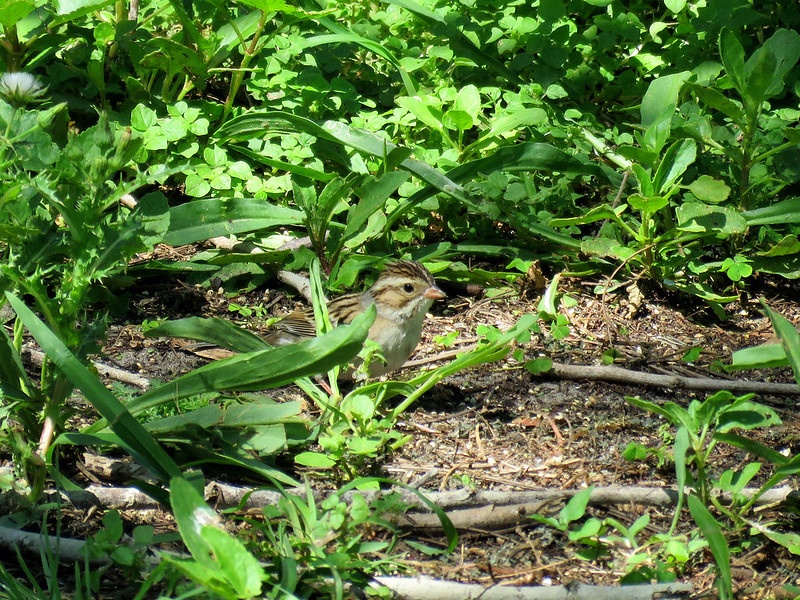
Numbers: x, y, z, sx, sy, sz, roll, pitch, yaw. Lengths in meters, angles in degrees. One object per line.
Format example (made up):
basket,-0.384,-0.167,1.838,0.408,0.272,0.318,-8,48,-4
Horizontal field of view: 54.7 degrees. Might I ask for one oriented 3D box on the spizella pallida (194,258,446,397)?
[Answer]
spizella pallida,-0.231,0.171,4.498,1.054,0.597,0.790,-8,22,-9
